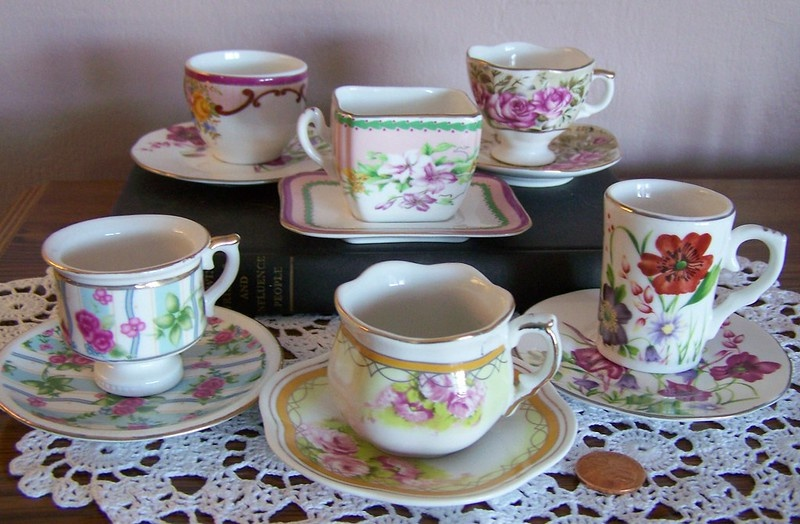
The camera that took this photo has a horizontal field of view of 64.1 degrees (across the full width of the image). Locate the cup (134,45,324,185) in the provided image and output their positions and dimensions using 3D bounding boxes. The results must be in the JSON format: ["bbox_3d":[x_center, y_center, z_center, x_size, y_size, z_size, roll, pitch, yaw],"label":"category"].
[{"bbox_3d":[-0.211,-0.170,0.859,0.233,0.092,0.215,4,28,-2],"label":"cup"}]

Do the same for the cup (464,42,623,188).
[{"bbox_3d":[0.195,-0.200,0.929,0.244,0.145,0.222,-2,30,1],"label":"cup"}]

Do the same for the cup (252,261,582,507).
[{"bbox_3d":[0.023,0.065,0.451,0.234,0.105,0.217,1,24,0],"label":"cup"}]

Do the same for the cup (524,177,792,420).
[{"bbox_3d":[0.268,0.043,0.686,0.262,0.154,0.243,-4,27,2],"label":"cup"}]

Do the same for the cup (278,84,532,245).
[{"bbox_3d":[0.000,-0.095,0.715,0.246,0.103,0.219,-1,25,-5],"label":"cup"}]

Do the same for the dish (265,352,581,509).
[{"bbox_3d":[0.011,0.139,0.508,0.160,0.029,0.143,3,23,3],"label":"dish"}]
